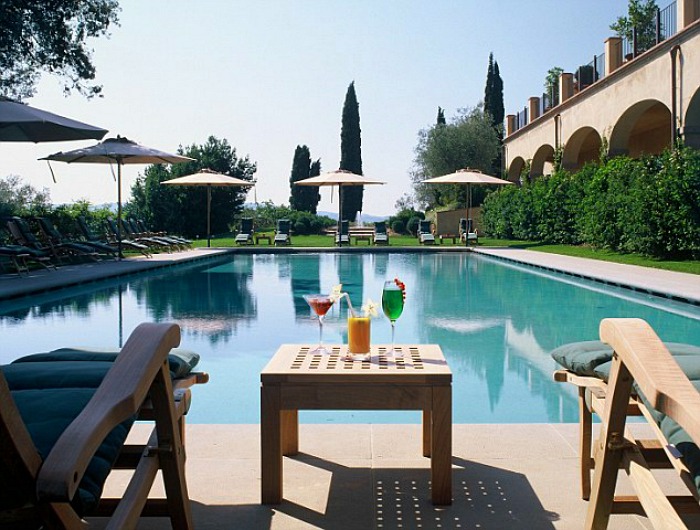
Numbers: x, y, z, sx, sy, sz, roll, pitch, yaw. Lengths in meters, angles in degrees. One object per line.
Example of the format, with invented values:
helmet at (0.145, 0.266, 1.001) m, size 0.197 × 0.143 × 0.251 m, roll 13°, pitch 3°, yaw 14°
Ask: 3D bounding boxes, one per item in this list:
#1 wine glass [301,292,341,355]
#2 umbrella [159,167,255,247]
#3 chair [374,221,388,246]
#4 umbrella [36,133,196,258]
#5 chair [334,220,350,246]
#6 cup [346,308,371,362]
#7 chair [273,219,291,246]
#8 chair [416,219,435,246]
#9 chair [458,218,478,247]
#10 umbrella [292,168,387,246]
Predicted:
wine glass at (-0.153, 0.310, 2.988) m, size 0.201 × 0.314 × 0.234 m, roll -1°, pitch 0°, yaw 0°
umbrella at (-5.025, -1.945, 19.886) m, size 2.427 × 2.964 × 2.554 m, roll 6°, pitch 4°, yaw 35°
chair at (1.180, -1.199, 22.027) m, size 0.452 × 0.894 × 0.892 m, roll 0°, pitch -2°, yaw 0°
umbrella at (-5.845, -1.749, 14.425) m, size 2.664 × 3.051 × 2.782 m, roll 5°, pitch 10°, yaw 28°
chair at (-0.272, -1.227, 21.542) m, size 0.648 × 1.510 × 0.787 m, roll 1°, pitch 0°, yaw 4°
cup at (0.049, 0.340, 2.856) m, size 0.110 × 0.252 × 0.123 m, roll -1°, pitch 10°, yaw -15°
chair at (-2.734, -1.223, 22.218) m, size 0.497 × 0.998 × 1.407 m, roll -1°, pitch -2°, yaw 2°
chair at (3.077, -1.245, 22.408) m, size 0.516 × 0.918 × 1.389 m, roll -1°, pitch -2°, yaw -1°
chair at (4.659, -1.287, 22.015) m, size 0.633 × 1.009 × 1.344 m, roll 0°, pitch 0°, yaw -3°
umbrella at (-0.242, -2.389, 22.582) m, size 2.460 × 2.764 × 5.643 m, roll 1°, pitch 9°, yaw 4°
